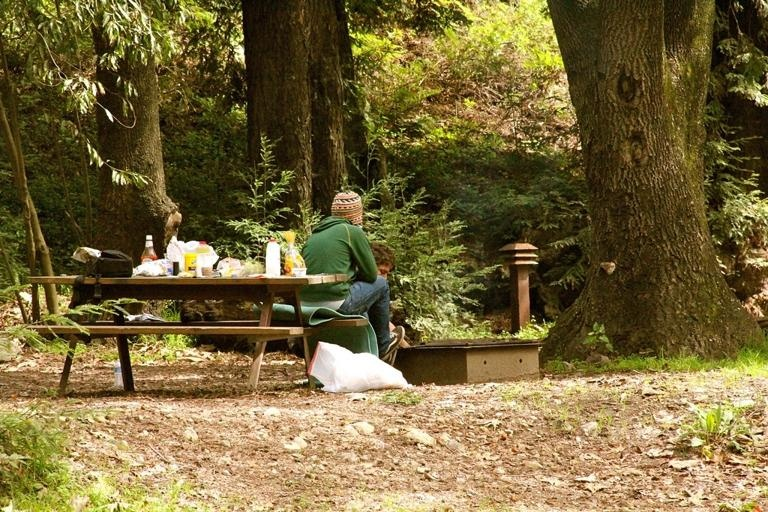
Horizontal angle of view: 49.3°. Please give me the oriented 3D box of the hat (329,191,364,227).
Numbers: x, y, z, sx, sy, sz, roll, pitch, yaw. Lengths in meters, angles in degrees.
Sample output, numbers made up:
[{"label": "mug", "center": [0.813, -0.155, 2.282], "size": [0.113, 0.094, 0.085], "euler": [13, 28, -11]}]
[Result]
[{"label": "hat", "center": [-0.482, -0.647, 11.034], "size": [0.430, 0.460, 0.351], "euler": [-3, 8, -12]}]

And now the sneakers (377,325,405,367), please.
[{"label": "sneakers", "center": [0.122, 1.185, 10.932], "size": [0.205, 0.634, 0.269], "euler": [29, -5, 23]}]

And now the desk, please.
[{"label": "desk", "center": [-2.343, 0.913, 10.045], "size": [3.252, 1.440, 1.458], "euler": [-1, 3, -12]}]

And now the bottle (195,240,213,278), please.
[{"label": "bottle", "center": [-2.160, 0.035, 9.977], "size": [0.203, 0.398, 0.255], "euler": [-2, 3, -13]}]
